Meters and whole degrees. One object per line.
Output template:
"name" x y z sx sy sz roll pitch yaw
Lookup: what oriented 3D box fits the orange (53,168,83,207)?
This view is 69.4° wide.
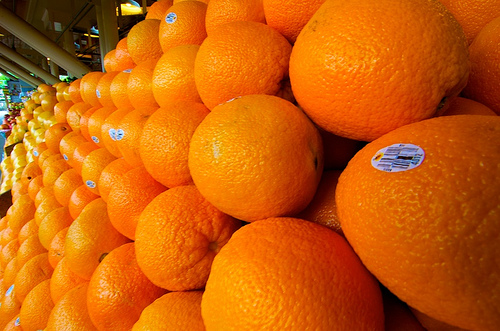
"orange" -0.812 0.102 1.650 0.129 0.135 0.161 -31 53 43

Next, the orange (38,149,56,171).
"orange" -1.089 -0.029 1.959 0.083 0.099 0.087 4 65 6

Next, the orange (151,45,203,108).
"orange" -0.234 -0.278 1.198 0.177 0.183 0.220 21 103 64

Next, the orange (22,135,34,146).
"orange" -1.679 -0.194 2.744 0.082 0.083 0.080 -4 91 -11

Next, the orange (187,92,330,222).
"orange" -0.029 -0.049 1.000 0.317 0.319 0.371 139 118 -68

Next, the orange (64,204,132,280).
"orange" -0.547 0.244 1.310 0.234 0.226 0.210 -54 16 -28

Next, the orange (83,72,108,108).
"orange" -0.745 -0.373 1.750 0.140 0.142 0.171 -5 88 57

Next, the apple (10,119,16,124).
"apple" -2.527 -0.473 3.882 0.052 0.052 0.029 -41 42 52

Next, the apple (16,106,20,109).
"apple" -2.786 -0.700 4.358 0.049 0.041 0.043 7 98 53

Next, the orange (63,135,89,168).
"orange" -0.836 -0.083 1.792 0.124 0.149 0.131 12 107 31

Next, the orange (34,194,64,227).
"orange" -0.940 0.204 1.681 0.131 0.130 0.160 4 88 7

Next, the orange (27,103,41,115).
"orange" -1.626 -0.434 2.745 0.098 0.075 0.080 12 104 54

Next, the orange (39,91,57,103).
"orange" -1.395 -0.485 2.494 0.099 0.102 0.056 -26 95 12
